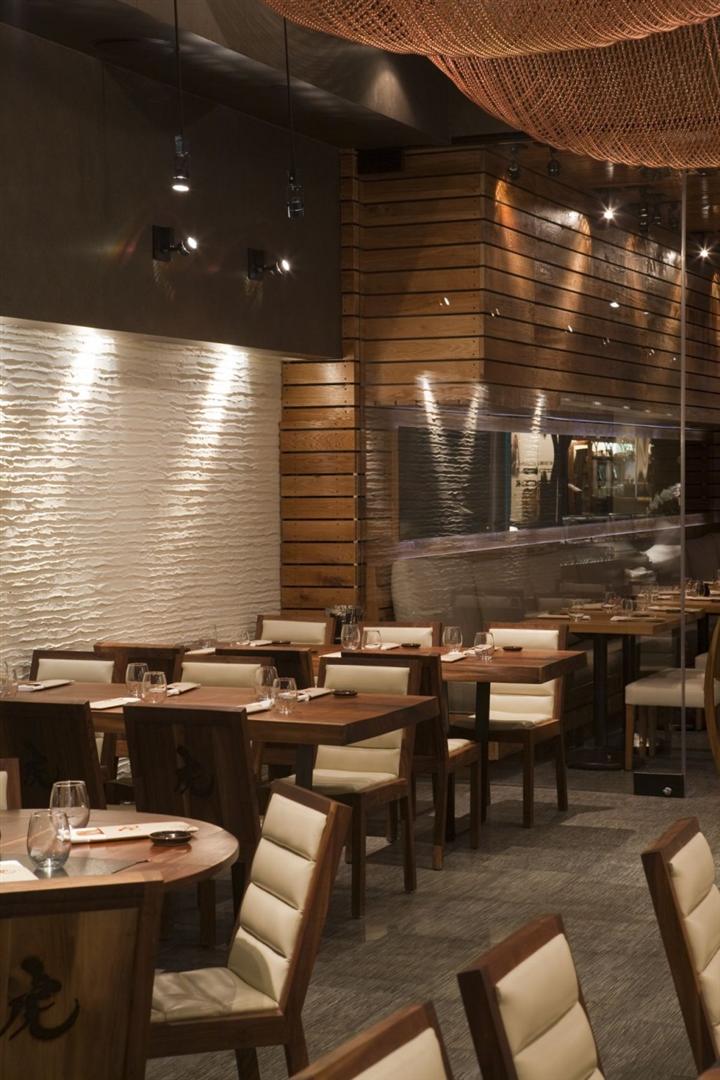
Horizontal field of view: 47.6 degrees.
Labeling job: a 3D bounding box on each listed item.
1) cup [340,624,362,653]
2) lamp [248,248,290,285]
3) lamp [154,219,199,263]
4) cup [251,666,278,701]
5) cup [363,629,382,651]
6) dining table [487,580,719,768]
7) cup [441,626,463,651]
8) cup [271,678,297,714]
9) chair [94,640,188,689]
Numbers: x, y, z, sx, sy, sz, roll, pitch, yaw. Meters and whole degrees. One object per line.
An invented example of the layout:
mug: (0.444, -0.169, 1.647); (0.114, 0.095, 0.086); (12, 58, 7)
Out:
cup: (-0.015, 0.615, 5.117); (0.144, 0.201, 0.146); (-2, -5, 0)
lamp: (-0.769, -2.239, 6.747); (0.278, 0.291, 0.289); (-3, 1, 30)
lamp: (-1.367, -2.077, 5.921); (0.243, 0.363, 0.364); (4, 8, 26)
cup: (-0.469, 0.674, 3.811); (0.127, 0.195, 0.120); (0, -6, 0)
cup: (0.081, 0.658, 5.351); (0.106, 0.111, 0.111); (-1, -4, 0)
dining table: (1.856, 1.134, 6.360); (1.382, 1.438, 1.456); (0, 1, 24)
cup: (0.606, 0.648, 5.353); (0.142, 0.184, 0.141); (1, 0, 0)
cup: (-0.323, 0.687, 3.551); (0.124, 0.175, 0.120); (-2, -3, 0)
chair: (-1.469, 0.766, 5.255); (0.577, 0.325, 0.574); (-3, -3, 15)
